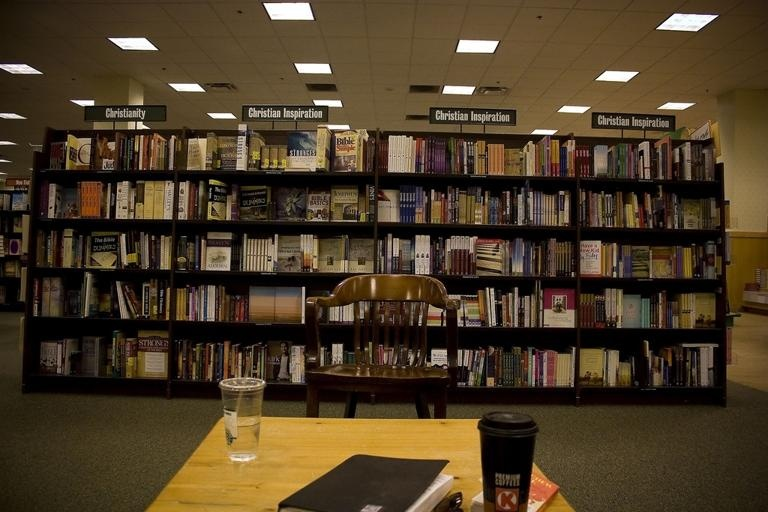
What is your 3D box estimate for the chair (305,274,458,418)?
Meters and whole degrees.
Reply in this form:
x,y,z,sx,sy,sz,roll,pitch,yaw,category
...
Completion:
x,y,z,sx,sy,sz,roll,pitch,yaw,category
0.000,0.871,6.684,1.414,1.369,1.442,0,-5,1,chair
